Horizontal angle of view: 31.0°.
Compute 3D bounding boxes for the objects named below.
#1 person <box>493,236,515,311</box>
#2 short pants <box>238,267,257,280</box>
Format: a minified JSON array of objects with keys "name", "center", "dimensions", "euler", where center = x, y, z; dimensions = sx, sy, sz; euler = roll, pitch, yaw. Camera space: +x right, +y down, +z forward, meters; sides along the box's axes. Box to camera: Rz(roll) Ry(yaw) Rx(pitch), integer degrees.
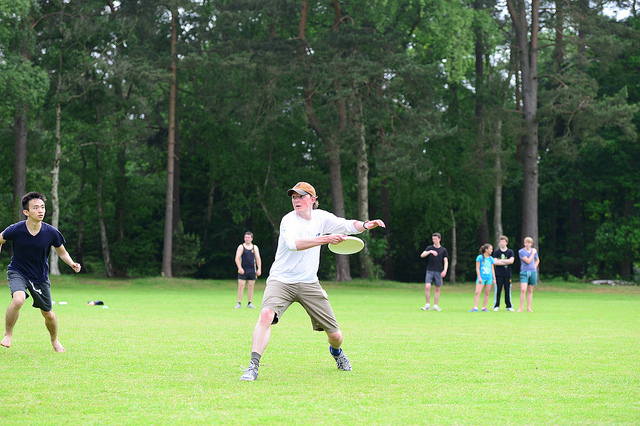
[{"name":"person","center":[9.050,3.001,56.550],"dimensions":[1.178,3.644,1.059],"euler":[-1,7,-2]},{"name":"short pants","center":[-3.558,3.080,57.585],"dimensions":[0.982,0.688,0.581],"euler":[1,-5,-15]}]
